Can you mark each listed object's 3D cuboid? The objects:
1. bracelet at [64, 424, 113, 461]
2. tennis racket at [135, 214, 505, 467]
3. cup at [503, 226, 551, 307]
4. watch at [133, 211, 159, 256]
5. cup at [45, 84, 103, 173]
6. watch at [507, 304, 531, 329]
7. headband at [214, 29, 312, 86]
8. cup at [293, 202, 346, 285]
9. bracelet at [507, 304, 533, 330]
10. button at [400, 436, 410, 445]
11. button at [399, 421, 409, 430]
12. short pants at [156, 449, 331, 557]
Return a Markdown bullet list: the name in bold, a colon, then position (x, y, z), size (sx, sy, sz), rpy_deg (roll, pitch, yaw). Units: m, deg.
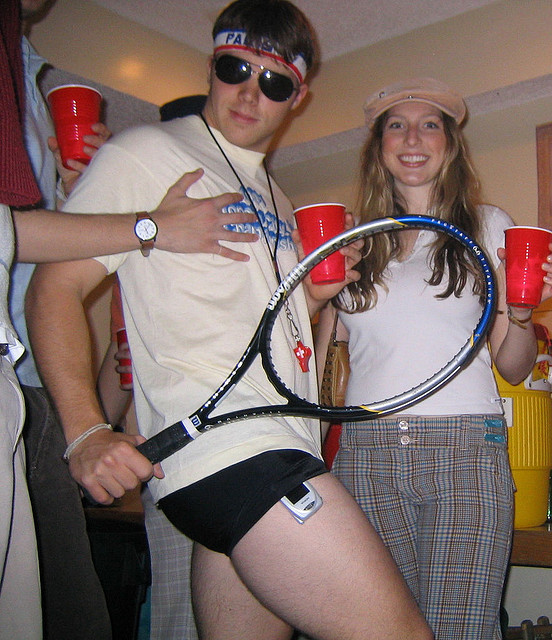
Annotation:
- **bracelet**: position (-0.360, 0.234, 1.108), size (0.081, 0.059, 0.024), rpy_deg (-41, 4, -7)
- **tennis racket**: position (0.271, -0.018, 1.616), size (1.433, 0.388, 0.071), rpy_deg (-32, -1, -33)
- **cup**: position (0.682, -0.140, 1.577), size (0.113, 0.230, 0.119), rpy_deg (2, 11, 0)
- **watch**: position (-0.277, -0.181, 1.215), size (0.052, 0.092, 0.047), rpy_deg (-1, 12, -14)
- **cup**: position (-0.602, -0.588, 1.757), size (0.178, 0.194, 0.165), rpy_deg (-1, 2, 0)
- **watch**: position (0.709, -0.006, 1.675), size (0.074, 0.018, 0.060), rpy_deg (14, -27, 26)
- **headband**: position (-0.029, -0.754, 1.641), size (0.294, 0.135, 0.167), rpy_deg (0, 11, -8)
- **cup**: position (0.140, -0.199, 1.544), size (0.179, 0.196, 0.176), rpy_deg (-1, -7, 0)
- **bracelet**: position (0.716, -0.011, 1.673), size (0.060, 0.074, 0.018), rpy_deg (-49, 13, 48)
- **button**: position (0.365, 0.339, 1.611), size (0.024, 0.020, 0.006), rpy_deg (0, -9, 25)
- **button**: position (0.362, 0.299, 1.619), size (0.024, 0.020, 0.005), rpy_deg (-2, -7, 25)
- **short pants**: position (-0.046, 0.322, 1.153), size (0.211, 0.119, 0.294), rpy_deg (-30, -16, 26)
